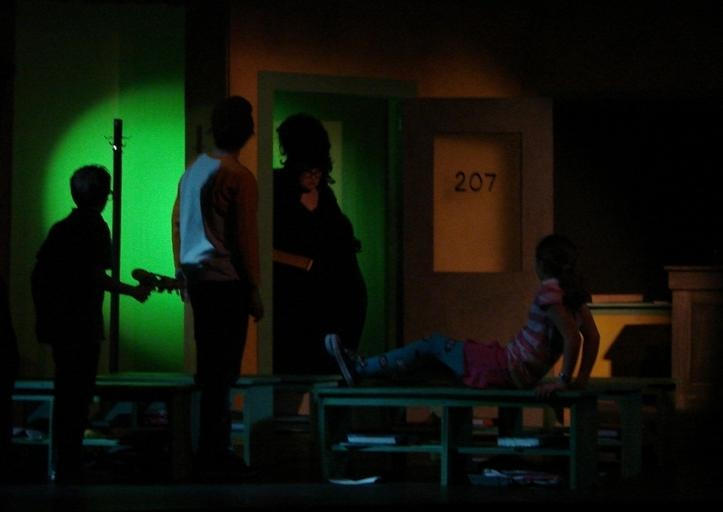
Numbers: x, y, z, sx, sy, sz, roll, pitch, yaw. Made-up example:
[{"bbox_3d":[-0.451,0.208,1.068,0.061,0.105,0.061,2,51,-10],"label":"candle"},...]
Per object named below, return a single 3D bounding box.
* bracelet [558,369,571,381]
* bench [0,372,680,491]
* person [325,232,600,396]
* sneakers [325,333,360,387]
[{"bbox_3d":[1.108,0.628,4.515,0.054,0.054,0.066,3,-26,29],"label":"bracelet"},{"bbox_3d":[0.064,0.936,4.881,3.196,0.594,0.594,1,13,6],"label":"bench"},{"bbox_3d":[0.619,0.362,4.994,1.630,0.826,0.543,-6,-5,32],"label":"person"},{"bbox_3d":[-0.111,0.573,4.814,0.151,0.316,0.123,-16,-16,-1],"label":"sneakers"}]
